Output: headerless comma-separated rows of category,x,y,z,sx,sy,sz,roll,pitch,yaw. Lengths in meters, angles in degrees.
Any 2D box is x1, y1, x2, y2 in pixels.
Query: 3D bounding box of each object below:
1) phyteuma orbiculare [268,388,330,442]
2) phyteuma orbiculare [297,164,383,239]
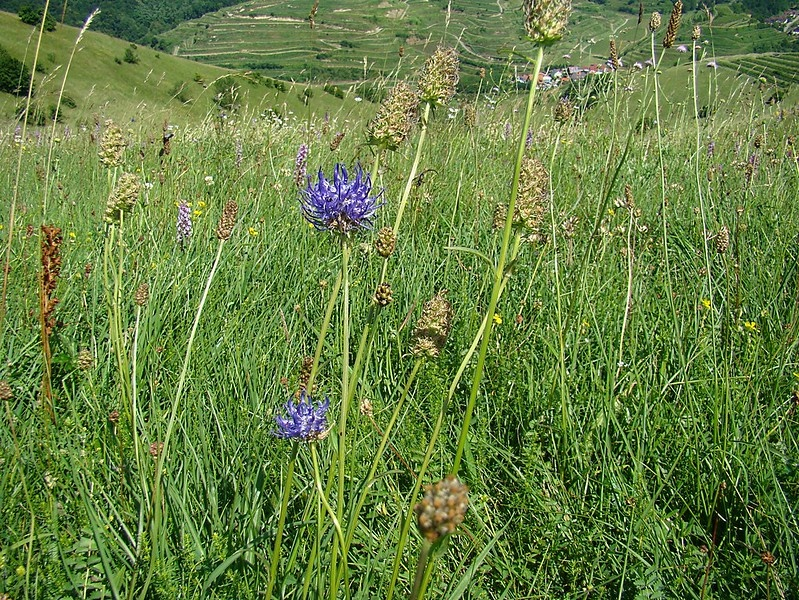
phyteuma orbiculare,-0.399,0.467,2.716,0.202,0.197,0.192,5,16,-1
phyteuma orbiculare,-0.263,-0.434,2.857,0.287,0.244,0.316,-6,21,-19
